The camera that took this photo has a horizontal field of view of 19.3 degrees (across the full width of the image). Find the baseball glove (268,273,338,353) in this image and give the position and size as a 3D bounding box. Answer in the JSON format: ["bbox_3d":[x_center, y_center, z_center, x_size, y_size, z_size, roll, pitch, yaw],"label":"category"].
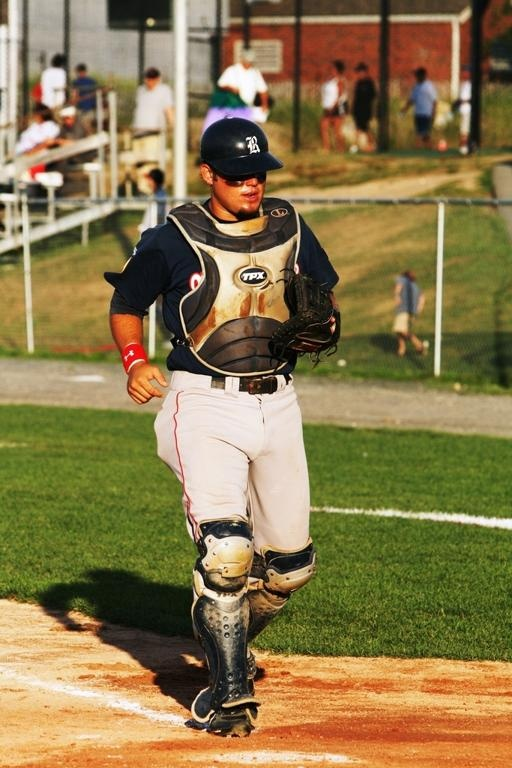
[{"bbox_3d":[0.202,-0.235,6.278,0.153,0.235,0.472,-10,-32,7],"label":"baseball glove"}]

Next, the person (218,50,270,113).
[{"bbox_3d":[-0.193,-4.312,21.481,0.648,0.752,0.936,1,9,-2],"label":"person"}]

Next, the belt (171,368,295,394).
[{"bbox_3d":[-0.024,-0.004,6.189,0.407,0.081,0.118,-3,10,-25],"label":"belt"}]

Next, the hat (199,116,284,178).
[{"bbox_3d":[-0.080,-1.009,6.355,0.307,0.243,0.406,-12,14,-30],"label":"hat"}]

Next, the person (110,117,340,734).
[{"bbox_3d":[-0.118,0.138,6.204,0.963,2.429,0.856,-1,10,-13],"label":"person"}]

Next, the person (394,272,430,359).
[{"bbox_3d":[1.596,-0.705,15.590,0.345,0.871,0.723,2,9,5],"label":"person"}]

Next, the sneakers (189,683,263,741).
[{"bbox_3d":[-0.132,1.295,6.074,0.288,0.196,0.230,0,9,-6],"label":"sneakers"}]

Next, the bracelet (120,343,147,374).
[{"bbox_3d":[-0.515,-0.105,6.230,0.097,0.098,0.124,-15,-10,4],"label":"bracelet"}]
